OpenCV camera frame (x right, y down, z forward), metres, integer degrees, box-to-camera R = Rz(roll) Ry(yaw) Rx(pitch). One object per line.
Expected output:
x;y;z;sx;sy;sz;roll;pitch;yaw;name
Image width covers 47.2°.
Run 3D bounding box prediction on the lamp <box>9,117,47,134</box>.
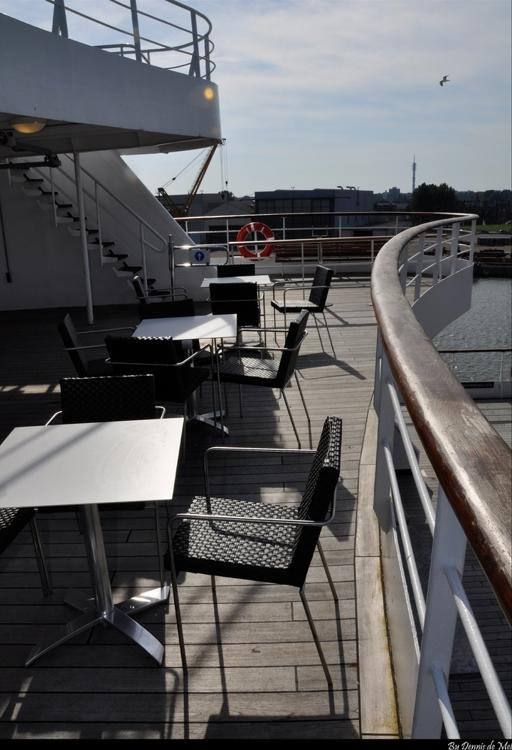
-2.089;-2.232;5.260;0.293;0.109;0.298;9;22;24;lamp
